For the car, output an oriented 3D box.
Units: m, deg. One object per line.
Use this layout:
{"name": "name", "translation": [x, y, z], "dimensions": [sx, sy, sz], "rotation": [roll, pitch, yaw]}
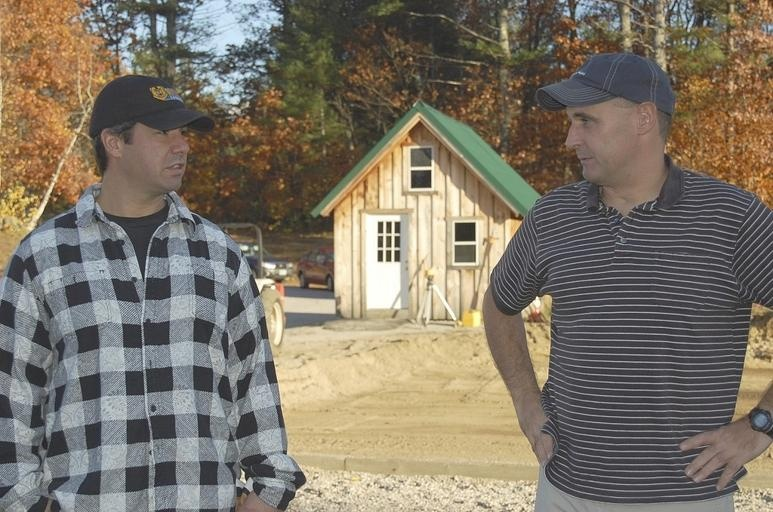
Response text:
{"name": "car", "translation": [-3.901, 0.315, 59.998], "dimensions": [3.866, 1.410, 1.771], "rotation": [-1, 0, 23]}
